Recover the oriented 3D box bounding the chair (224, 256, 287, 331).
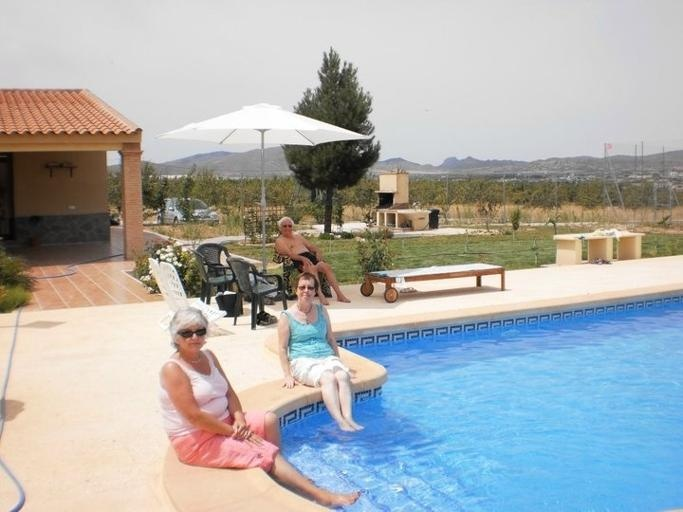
[{"bbox_3d":[-1.352,0.514,9.534,0.834,1.158,0.875,3,14,5],"label":"chair"}]

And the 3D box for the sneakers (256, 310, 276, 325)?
[{"bbox_3d":[-1.212,0.988,9.458,0.167,0.111,0.275,-3,4,-36],"label":"sneakers"}]

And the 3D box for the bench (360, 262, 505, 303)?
[{"bbox_3d":[1.748,0.517,11.762,2.609,0.647,1.045,-3,14,-22],"label":"bench"}]

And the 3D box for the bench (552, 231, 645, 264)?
[{"bbox_3d":[6.882,-0.266,15.936,2.575,0.957,1.109,-6,15,-32],"label":"bench"}]

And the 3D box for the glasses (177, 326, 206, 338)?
[{"bbox_3d":[-1.244,0.639,4.929,0.238,0.079,0.076,-3,14,-23],"label":"glasses"}]

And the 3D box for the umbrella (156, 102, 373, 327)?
[{"bbox_3d":[-1.558,-0.991,12.195,3.462,3.405,3.810,-3,6,-5],"label":"umbrella"}]

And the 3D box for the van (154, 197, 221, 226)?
[{"bbox_3d":[-7.883,-2.501,29.908,1.629,1.133,3.079,-2,2,-38],"label":"van"}]

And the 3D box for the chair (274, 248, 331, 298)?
[{"bbox_3d":[-0.776,0.278,11.429,0.964,1.245,0.836,-2,1,-30],"label":"chair"}]

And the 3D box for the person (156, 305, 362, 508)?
[{"bbox_3d":[-0.854,1.228,5.012,1.304,1.469,0.456,4,12,8],"label":"person"}]
